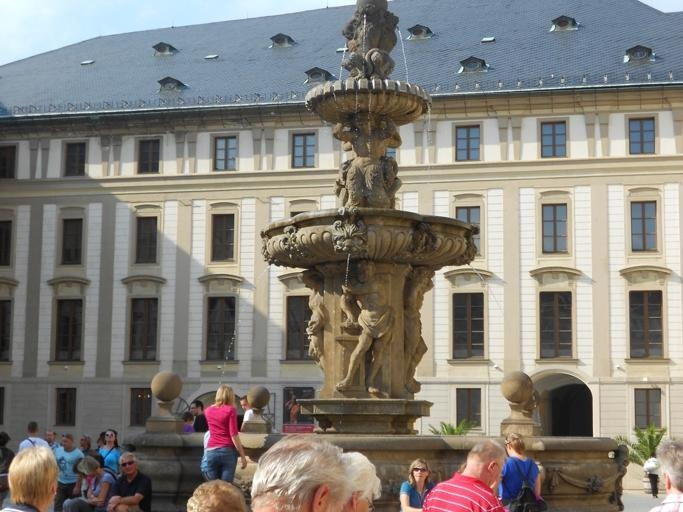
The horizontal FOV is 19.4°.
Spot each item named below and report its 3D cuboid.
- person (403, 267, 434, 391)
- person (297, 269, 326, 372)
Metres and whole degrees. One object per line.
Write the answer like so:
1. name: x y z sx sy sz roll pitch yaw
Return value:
1. person: 2.149 2.187 57.539 0.791 3.755 0.856 1 -10 1
2. person: -0.806 1.835 57.661 0.695 2.949 0.539 1 -10 -1
